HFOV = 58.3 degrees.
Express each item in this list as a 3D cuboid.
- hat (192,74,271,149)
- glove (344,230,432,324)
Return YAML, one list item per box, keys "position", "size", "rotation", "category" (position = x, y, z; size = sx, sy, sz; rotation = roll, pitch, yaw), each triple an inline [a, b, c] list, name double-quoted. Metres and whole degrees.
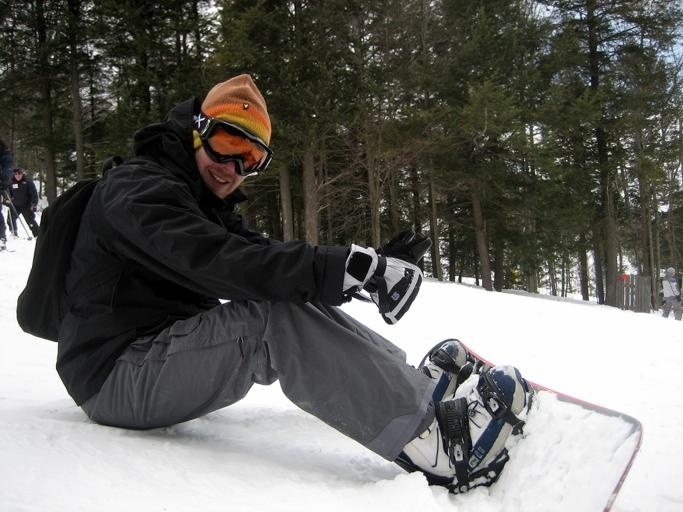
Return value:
- position: [-0.739, -1.046, 4.217]
  size: [0.544, 0.392, 0.390]
  rotation: [32, 7, 40]
  category: "hat"
- position: [0.272, 0.119, 3.800]
  size: [0.582, 0.603, 0.360]
  rotation: [2, -3, -9]
  category: "glove"
